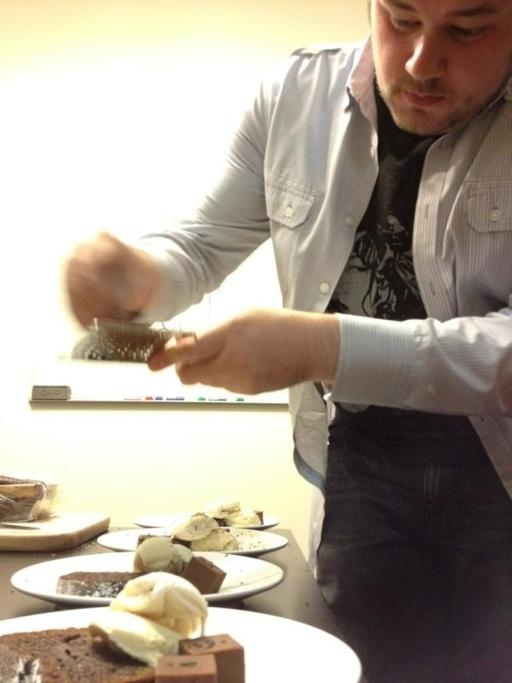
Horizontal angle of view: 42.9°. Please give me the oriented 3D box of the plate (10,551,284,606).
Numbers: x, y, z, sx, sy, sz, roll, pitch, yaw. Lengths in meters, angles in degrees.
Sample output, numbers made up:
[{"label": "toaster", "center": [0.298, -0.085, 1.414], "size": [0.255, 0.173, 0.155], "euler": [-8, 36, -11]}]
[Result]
[{"label": "plate", "center": [-0.149, 0.269, 0.752], "size": [0.135, 0.017, 0.136], "euler": [-1, -2, 44]}]
